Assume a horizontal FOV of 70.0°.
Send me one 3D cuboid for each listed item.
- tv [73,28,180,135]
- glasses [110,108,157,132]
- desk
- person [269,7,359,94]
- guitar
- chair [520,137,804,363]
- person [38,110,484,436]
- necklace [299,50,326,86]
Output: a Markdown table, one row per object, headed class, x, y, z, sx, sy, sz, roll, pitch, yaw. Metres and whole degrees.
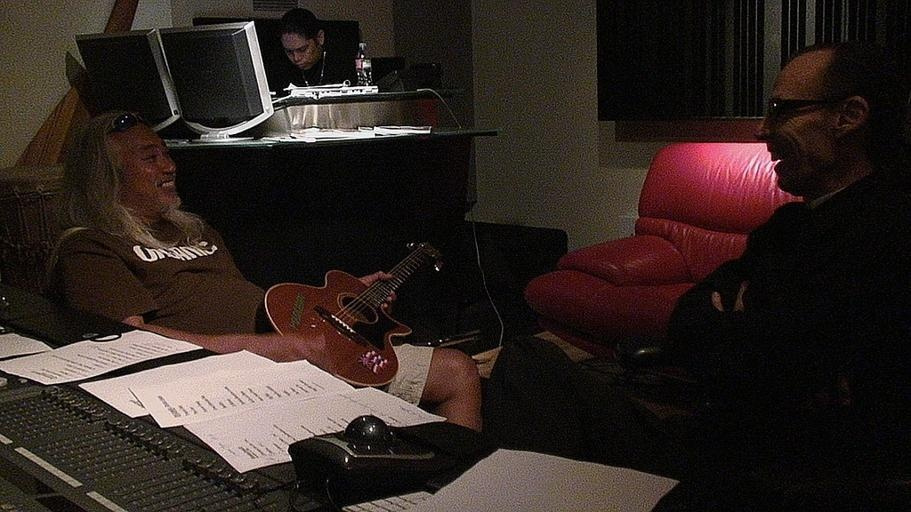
| class | x | y | z | sx | sy | sz | roll | pitch | yaw |
| --- | --- | --- | --- | --- | --- | --- | --- | --- | --- |
| tv | -1.920 | -1.120 | 4.119 | 0.811 | 0.654 | 0.180 | 3 | 26 | 17 |
| glasses | -1.590 | -0.674 | 3.141 | 0.142 | 0.041 | 0.136 | -21 | -16 | 22 |
| desk | -0.865 | -0.366 | 4.279 | 1.996 | 1.222 | 1.106 | -7 | 16 | -25 |
| person | -1.300 | -1.858 | 5.864 | 0.616 | 0.632 | 1.074 | -3 | 17 | 7 |
| guitar | -0.317 | 0.273 | 2.951 | 0.686 | 0.375 | 0.890 | 11 | 23 | 40 |
| chair | 1.328 | -0.045 | 4.281 | 1.528 | 0.952 | 1.488 | -14 | 15 | -32 |
| person | -0.838 | 0.025 | 3.042 | 2.122 | 0.927 | 1.110 | 25 | 2 | 0 |
| necklace | -1.248 | -1.617 | 5.744 | 0.234 | 0.374 | 0.096 | 4 | 1 | 28 |
